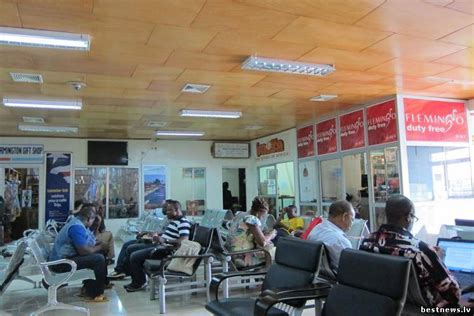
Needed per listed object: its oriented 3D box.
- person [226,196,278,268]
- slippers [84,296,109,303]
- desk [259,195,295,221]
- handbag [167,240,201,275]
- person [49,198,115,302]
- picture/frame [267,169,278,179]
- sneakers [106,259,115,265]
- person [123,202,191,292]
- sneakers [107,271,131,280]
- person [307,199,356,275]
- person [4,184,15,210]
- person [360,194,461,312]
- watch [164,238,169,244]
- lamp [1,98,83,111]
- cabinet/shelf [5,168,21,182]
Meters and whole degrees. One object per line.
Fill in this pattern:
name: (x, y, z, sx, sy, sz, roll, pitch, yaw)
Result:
person: (0.216, 1.156, 5.236, 0.765, 1.073, 0.403, -1, -5, 5)
slippers: (-2.323, 2.292, 5.357, 0.335, 0.084, 0.137, 1, -10, -7)
desk: (1.468, 1.665, 11.839, 1.063, 1.117, 1.344, 6, -9, -23)
handbag: (-0.826, 1.566, 5.064, 0.524, 0.509, 0.396, 0, -5, -6)
person: (-2.550, 1.594, 5.451, 0.890, 1.536, 0.986, -5, -7, 40)
picture/frame: (1.251, 0.574, 11.859, 0.392, 0.428, 0.483, 3, -10, -12)
sneakers: (-2.719, 2.221, 6.988, 0.145, 0.103, 0.100, 1, -1, -12)
person: (-1.497, 1.601, 6.089, 1.322, 1.406, 0.914, -2, -1, -12)
sneakers: (-2.396, 2.358, 6.526, 0.502, 0.173, 0.163, 6, -11, -6)
person: (1.126, 0.923, 3.884, 0.534, 0.830, 0.453, -2, -6, 15)
person: (-7.956, 1.294, 11.358, 0.305, 0.899, 0.155, 3, -6, -33)
person: (1.611, 0.844, 3.074, 0.386, 0.993, 0.665, 3, -6, -32)
watch: (-1.223, 1.435, 5.653, 0.080, 0.043, 0.099, 9, -19, -8)
lamp: (-4.270, -1.152, 7.066, 1.184, 0.164, 0.112, 1, 4, -22)
cabinet/shelf: (-8.228, 0.633, 11.970, 0.315, 0.511, 0.708, 0, -5, -7)
